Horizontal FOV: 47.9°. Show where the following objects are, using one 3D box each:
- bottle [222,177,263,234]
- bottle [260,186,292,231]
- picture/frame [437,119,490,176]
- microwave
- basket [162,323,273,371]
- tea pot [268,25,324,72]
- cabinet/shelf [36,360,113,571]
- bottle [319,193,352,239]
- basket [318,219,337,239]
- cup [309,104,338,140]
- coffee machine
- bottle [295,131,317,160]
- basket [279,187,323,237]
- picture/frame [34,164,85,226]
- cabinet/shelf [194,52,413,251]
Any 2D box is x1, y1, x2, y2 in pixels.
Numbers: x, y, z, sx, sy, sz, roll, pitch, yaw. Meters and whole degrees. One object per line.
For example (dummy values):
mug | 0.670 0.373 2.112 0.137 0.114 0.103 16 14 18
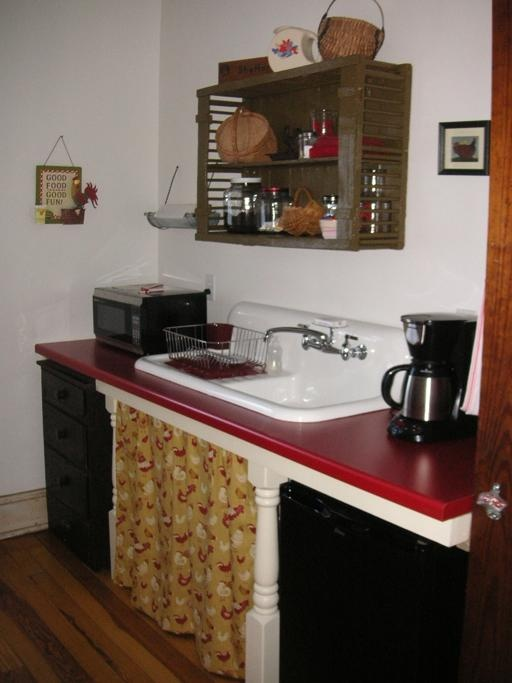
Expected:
bottle | -0.037 -0.467 2.003 0.135 0.185 0.184 -6 15 -25
bottle | 0.052 -0.419 1.833 0.119 0.146 0.127 -1 5 -17
picture/frame | 0.523 -0.490 1.463 0.024 0.152 0.164 -4 8 -26
microwave | -0.405 -0.161 2.350 0.300 0.228 0.381 -5 11 -32
basket | -0.145 0.016 2.146 0.281 0.094 0.191 1 18 -28
tea pot | 0.107 -0.870 1.703 0.140 0.168 0.212 0 7 1
cabinet/shelf | -0.746 0.513 2.383 0.135 0.812 0.498 -6 9 -36
bottle | 0.227 -0.339 1.625 0.085 0.126 0.080 0 10 0
basket | 0.203 -0.314 1.616 0.048 0.065 0.087 -1 9 -7
cup | 0.195 -0.642 1.689 0.079 0.081 0.075 -1 6 0
coffee machine | 0.385 0.074 1.276 0.204 0.256 0.152 -4 7 -34
bottle | 0.144 -0.577 1.704 0.070 0.084 0.039 6 9 40
basket | 0.143 -0.370 1.784 0.143 0.200 0.095 1 5 -5
picture/frame | -0.887 -0.654 2.570 0.272 0.372 0.015 -2 7 -43
cabinet/shelf | 0.090 -0.561 1.812 0.220 0.517 0.695 -12 20 -43
